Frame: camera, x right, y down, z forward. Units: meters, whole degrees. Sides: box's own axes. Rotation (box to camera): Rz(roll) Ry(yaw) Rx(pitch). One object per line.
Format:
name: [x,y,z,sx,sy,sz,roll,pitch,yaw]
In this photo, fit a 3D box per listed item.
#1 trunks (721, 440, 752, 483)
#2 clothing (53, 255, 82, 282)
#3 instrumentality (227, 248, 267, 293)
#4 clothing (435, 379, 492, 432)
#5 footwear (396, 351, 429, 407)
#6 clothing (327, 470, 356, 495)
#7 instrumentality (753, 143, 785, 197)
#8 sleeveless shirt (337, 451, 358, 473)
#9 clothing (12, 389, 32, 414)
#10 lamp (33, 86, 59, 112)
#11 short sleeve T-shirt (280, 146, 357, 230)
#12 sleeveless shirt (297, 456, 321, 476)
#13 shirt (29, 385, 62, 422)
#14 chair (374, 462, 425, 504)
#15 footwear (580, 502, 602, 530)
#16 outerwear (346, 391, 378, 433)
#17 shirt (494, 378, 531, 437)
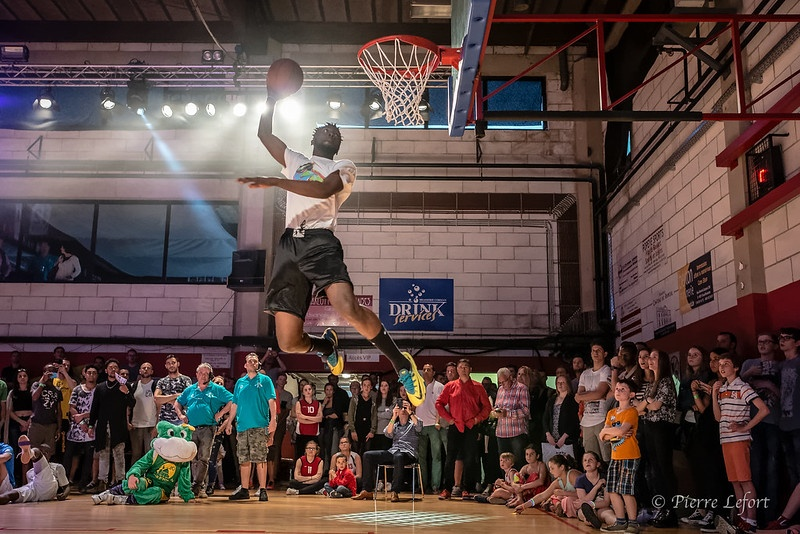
trunks: [5.038,2.899,10.624,0.420,0.696,0.476,16,-26,-8]
clothing: [-8.944,0.088,19.041,0.654,0.799,0.343,2,-12,-2]
instrumentality: [-3.883,0.148,18.587,1.326,1.232,0.921,-1,-19,-1]
clothing: [1.189,2.739,13.867,1.231,1.099,0.542,1,-12,4]
footwear: [0.153,1.574,9.573,0.297,0.799,0.349,-23,4,25]
clothing: [-1.155,4.200,13.893,0.513,0.459,0.392,-7,-26,-12]
instrumentality: [6.256,-1.634,12.030,0.338,0.984,0.971,1,3,0]
sleeveless shirt: [-1.057,3.897,14.087,0.395,0.479,0.267,-3,-18,-6]
clothing: [-8.024,2.884,15.043,0.401,0.502,0.280,4,-23,-38]
lamp: [-9.440,-4.448,18.970,0.703,0.712,0.643,-6,-41,-20]
short sleeve T-shirt: [-1.057,-0.997,9.410,0.909,1.050,0.412,9,5,8]
sleeveless shirt: [-1.841,4.127,14.646,0.581,0.522,0.315,1,-22,-3]
shirt: [-7.378,2.874,14.784,0.693,0.939,0.521,6,-19,-34]
chair: [-0.004,4.249,13.850,1.182,0.884,0.899,-2,-36,3]
footwear: [2.823,3.700,10.621,0.182,0.418,0.180,-39,-43,22]
outerwear: [-0.806,3.137,15.196,0.736,1.009,0.431,5,-34,-9]
shirt: [2.118,2.690,13.433,0.620,1.046,0.895,22,-30,-29]
